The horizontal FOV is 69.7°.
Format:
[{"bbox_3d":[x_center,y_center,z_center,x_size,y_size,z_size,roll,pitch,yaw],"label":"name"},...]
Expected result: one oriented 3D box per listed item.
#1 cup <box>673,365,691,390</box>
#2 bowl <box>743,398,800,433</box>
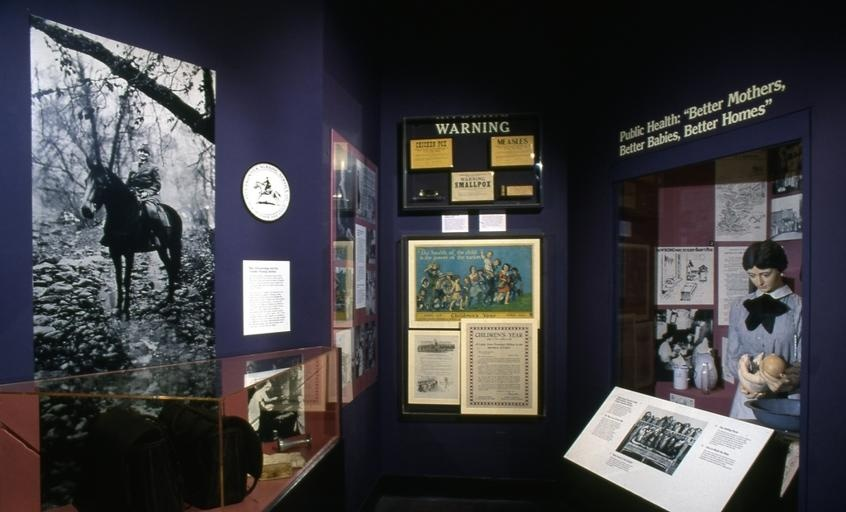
[{"bbox_3d":[1.720,0.803,4.013,0.101,0.159,0.163,1,-3,-1],"label":"cup"},{"bbox_3d":[2.112,0.935,3.635,0.310,0.109,0.287,-8,2,0],"label":"bowl"}]
